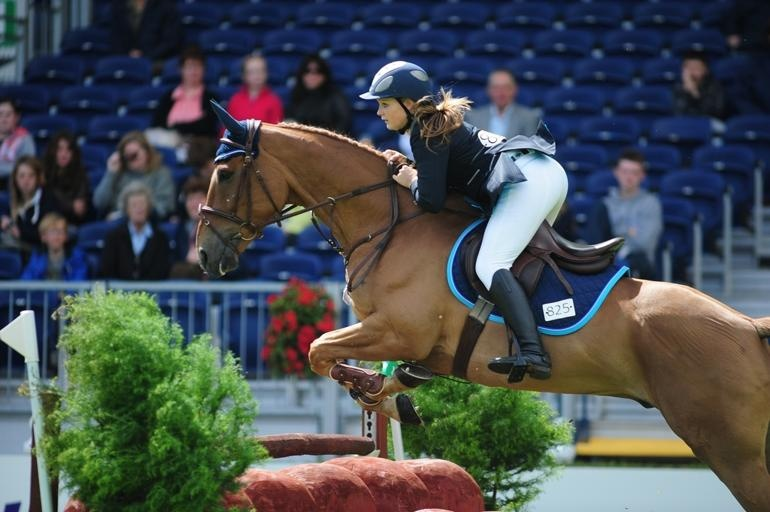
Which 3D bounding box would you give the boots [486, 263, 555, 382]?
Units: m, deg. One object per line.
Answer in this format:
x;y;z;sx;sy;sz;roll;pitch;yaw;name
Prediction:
1.430;0.763;21.667;0.747;1.331;0.477;7;-40;1;boots
